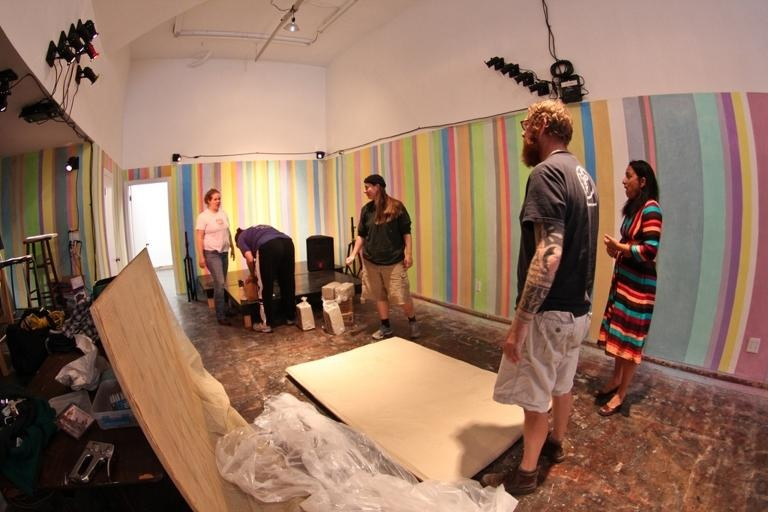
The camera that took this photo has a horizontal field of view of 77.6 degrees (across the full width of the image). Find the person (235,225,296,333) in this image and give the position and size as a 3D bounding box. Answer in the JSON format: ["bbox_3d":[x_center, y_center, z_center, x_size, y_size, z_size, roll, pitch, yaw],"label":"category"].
[{"bbox_3d":[-1.421,0.253,5.839,0.640,1.241,0.439,-4,13,-12],"label":"person"}]

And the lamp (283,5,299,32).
[{"bbox_3d":[-1.353,-3.451,6.912,0.248,0.308,0.259,9,15,35],"label":"lamp"}]

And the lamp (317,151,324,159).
[{"bbox_3d":[-1.201,-1.917,9.029,0.173,0.128,0.076,-4,13,-10],"label":"lamp"}]

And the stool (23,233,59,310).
[{"bbox_3d":[-3.380,0.143,4.668,0.305,0.850,0.277,33,33,30],"label":"stool"}]

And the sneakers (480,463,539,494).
[{"bbox_3d":[0.930,1.611,3.604,0.500,0.232,0.179,0,0,20],"label":"sneakers"}]

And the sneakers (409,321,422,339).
[{"bbox_3d":[0.352,0.847,5.536,0.129,0.158,0.375,-3,-8,0],"label":"sneakers"}]

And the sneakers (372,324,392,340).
[{"bbox_3d":[-0.020,0.888,5.550,0.104,0.120,0.274,-5,-5,39],"label":"sneakers"}]

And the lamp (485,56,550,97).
[{"bbox_3d":[1.558,-2.069,5.480,1.025,0.191,0.211,43,1,32],"label":"lamp"}]

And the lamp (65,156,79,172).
[{"bbox_3d":[-3.394,-1.006,5.196,0.040,0.167,0.308,-4,13,-13],"label":"lamp"}]

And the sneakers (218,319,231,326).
[{"bbox_3d":[-2.058,0.834,6.131,0.163,0.076,0.067,1,3,31],"label":"sneakers"}]

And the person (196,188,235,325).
[{"bbox_3d":[-2.235,-0.017,6.269,0.391,1.678,0.818,-5,13,-15],"label":"person"}]

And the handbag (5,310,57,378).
[{"bbox_3d":[-3.157,0.769,4.276,0.209,0.644,0.480,-22,-4,-18],"label":"handbag"}]

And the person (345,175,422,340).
[{"bbox_3d":[-0.005,0.003,5.456,0.830,1.835,0.470,7,15,33],"label":"person"}]

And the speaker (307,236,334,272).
[{"bbox_3d":[-1.109,-0.086,8.136,0.497,0.782,0.509,-1,10,-11],"label":"speaker"}]

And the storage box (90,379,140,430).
[{"bbox_3d":[-1.881,1.008,3.292,0.261,0.135,0.357,-5,20,-25],"label":"storage box"}]

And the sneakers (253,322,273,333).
[{"bbox_3d":[-1.481,0.836,5.823,0.208,0.095,0.107,9,7,21],"label":"sneakers"}]

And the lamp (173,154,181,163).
[{"bbox_3d":[-3.558,-1.680,8.154,0.072,0.131,0.129,0,6,34],"label":"lamp"}]

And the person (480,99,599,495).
[{"bbox_3d":[1.158,0.310,3.429,0.583,2.774,0.721,6,14,28],"label":"person"}]

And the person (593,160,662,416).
[{"bbox_3d":[2.088,0.257,4.101,0.403,2.087,0.624,7,15,33],"label":"person"}]
